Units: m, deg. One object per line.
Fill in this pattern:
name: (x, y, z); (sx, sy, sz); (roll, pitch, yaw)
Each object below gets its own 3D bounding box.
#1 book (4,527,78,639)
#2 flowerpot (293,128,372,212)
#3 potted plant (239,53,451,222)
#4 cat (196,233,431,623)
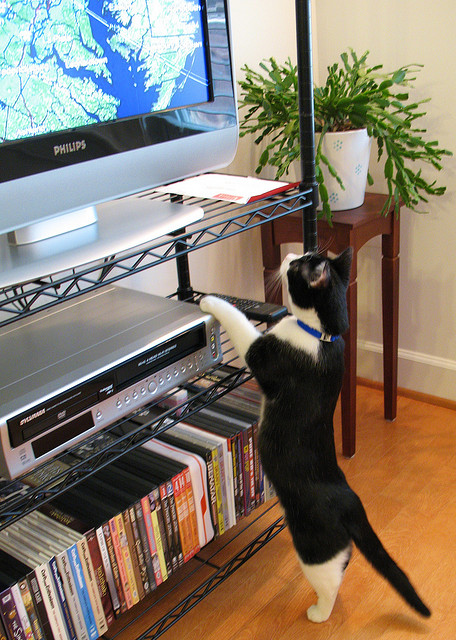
book: (-0.293, 0.425, 0.785); (0.120, 0.190, 0.016); (11, 29, 36)
flowerpot: (0.302, -0.441, 1.430); (0.212, 0.225, 0.232); (-11, 24, -3)
potted plant: (0.332, -0.494, 1.313); (0.548, 0.368, 0.477); (-15, 35, -21)
cat: (0.158, 0.267, 0.881); (0.257, 0.767, 0.310); (-15, 24, -18)
